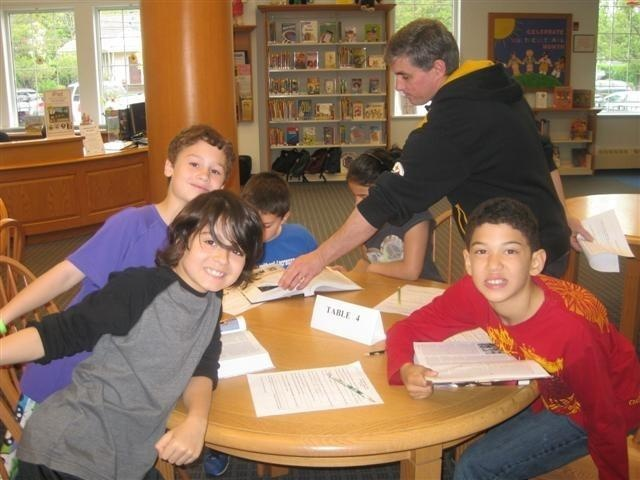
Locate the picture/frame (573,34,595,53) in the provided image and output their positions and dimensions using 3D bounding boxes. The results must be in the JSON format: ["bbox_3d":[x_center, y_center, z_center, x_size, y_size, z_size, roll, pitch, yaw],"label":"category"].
[{"bbox_3d":[4.818,-3.590,9.217,0.288,0.231,0.021,0,9,3],"label":"picture/frame"}]

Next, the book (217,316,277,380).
[{"bbox_3d":[-0.241,0.360,1.642,0.152,0.039,0.157,-6,16,-26],"label":"book"}]

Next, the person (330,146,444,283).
[{"bbox_3d":[0.298,-0.073,2.605,0.417,0.724,0.423,2,28,36],"label":"person"}]

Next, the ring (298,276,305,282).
[{"bbox_3d":[-0.073,0.158,2.010,0.018,0.017,0.006,2,35,-9],"label":"ring"}]

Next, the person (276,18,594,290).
[{"bbox_3d":[0.604,-0.135,2.317,1.255,1.591,0.516,-10,29,-6],"label":"person"}]
